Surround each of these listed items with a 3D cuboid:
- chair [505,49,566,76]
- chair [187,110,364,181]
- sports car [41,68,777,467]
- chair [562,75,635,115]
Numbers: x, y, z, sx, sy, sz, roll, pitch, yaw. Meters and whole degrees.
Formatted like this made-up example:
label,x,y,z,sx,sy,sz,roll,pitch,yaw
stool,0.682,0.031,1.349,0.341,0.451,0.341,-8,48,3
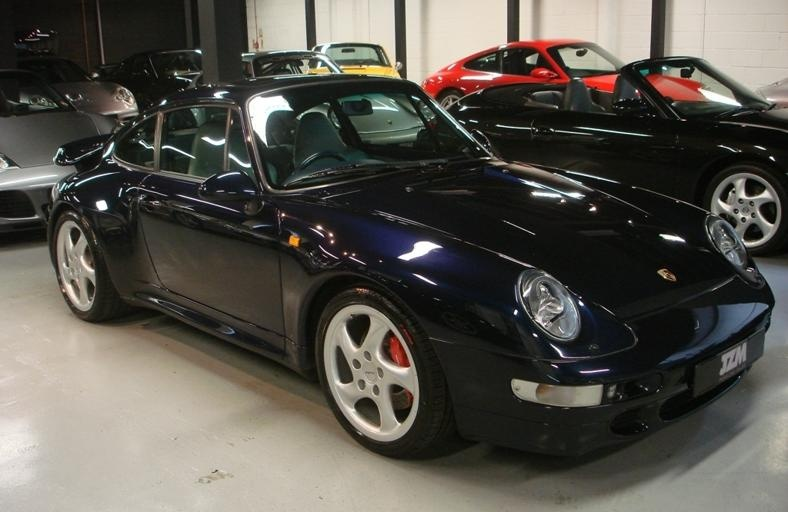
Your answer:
label,x,y,z,sx,sy,sz,roll,pitch,yaw
chair,2.454,-3.479,9.732,0.641,0.265,1.041,-4,1,39
chair,-0.756,-0.669,3.120,0.905,0.322,0.500,9,30,24
sports car,-0.437,-0.215,3.231,4.199,1.127,1.990,12,20,32
chair,1.996,-1.624,5.321,0.709,0.260,0.382,-2,20,4
